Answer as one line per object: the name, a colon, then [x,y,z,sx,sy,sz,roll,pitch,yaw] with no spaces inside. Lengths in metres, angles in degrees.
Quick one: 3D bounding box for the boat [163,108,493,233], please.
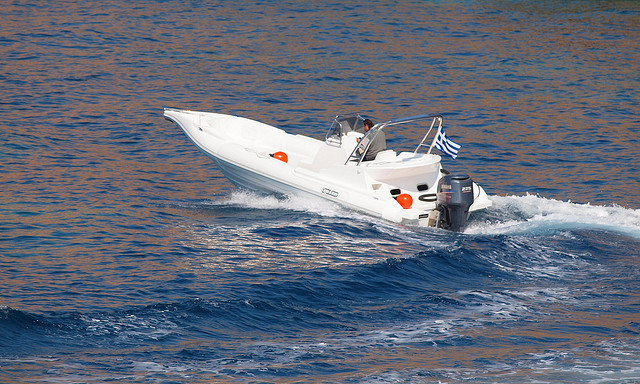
boat: [0.293,-0.815,29.524,8.737,3.131,2.595,13,35,32]
